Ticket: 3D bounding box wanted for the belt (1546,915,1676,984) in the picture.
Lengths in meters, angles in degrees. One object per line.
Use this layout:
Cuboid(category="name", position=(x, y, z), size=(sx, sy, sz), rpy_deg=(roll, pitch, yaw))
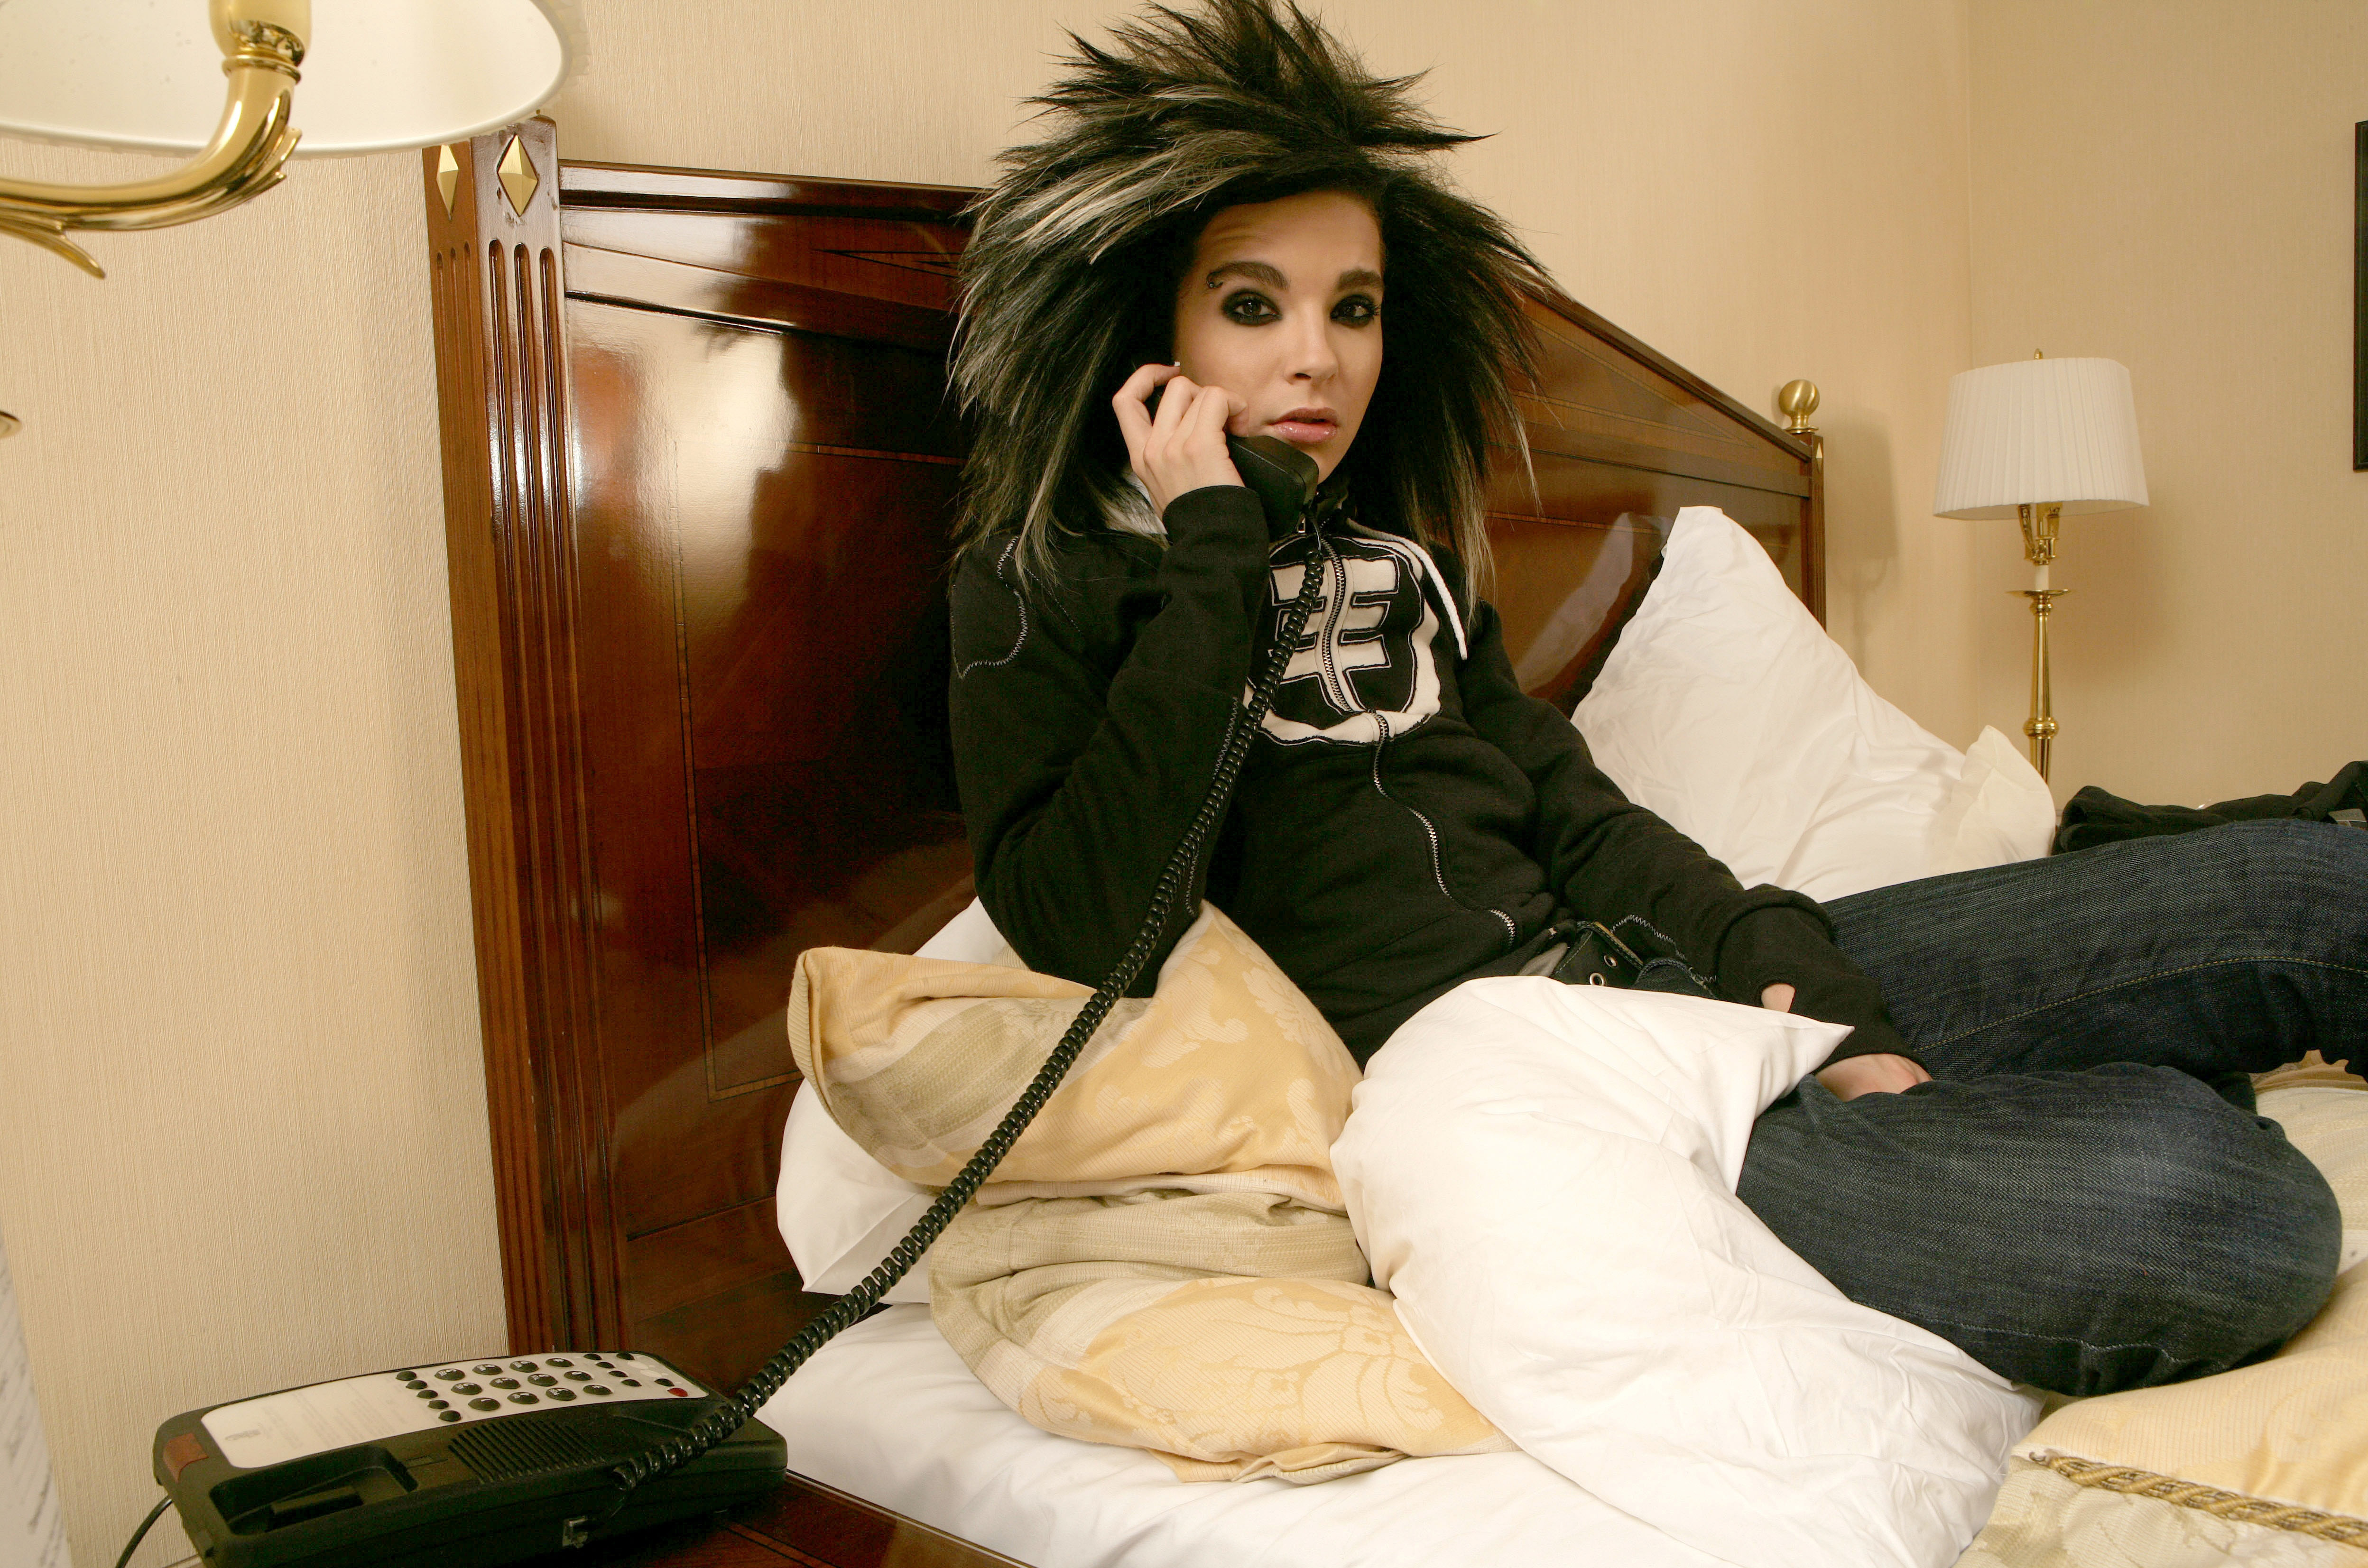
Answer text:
Cuboid(category="belt", position=(0.478, 0.181, 2.043), size=(0.082, 0.034, 0.092), rpy_deg=(-2, 5, -25))
